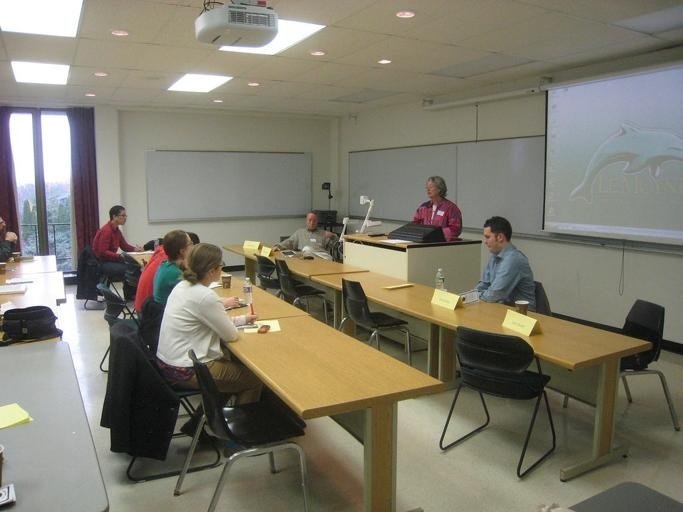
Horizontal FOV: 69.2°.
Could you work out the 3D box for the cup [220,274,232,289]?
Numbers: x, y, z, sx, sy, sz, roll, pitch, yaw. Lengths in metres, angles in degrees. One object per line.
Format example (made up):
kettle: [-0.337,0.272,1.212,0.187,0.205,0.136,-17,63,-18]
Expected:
cup: [-1.136,0.257,4.920,0.119,0.111,0.122,0,1,0]

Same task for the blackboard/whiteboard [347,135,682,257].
blackboard/whiteboard: [1.817,-1.043,7.671,0.200,1.552,5.736,-9,16,-33]

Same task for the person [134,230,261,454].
person: [-1.038,0.605,3.766,0.708,1.491,1.684,-6,14,-21]

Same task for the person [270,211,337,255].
person: [-0.511,-0.278,7.477,0.918,0.727,0.540,-4,-3,4]

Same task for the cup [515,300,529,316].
cup: [1.322,0.389,3.665,0.097,0.142,0.100,-1,-1,0]

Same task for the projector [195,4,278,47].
projector: [-0.719,-1.556,3.506,0.440,0.180,0.331,-3,4,-37]
